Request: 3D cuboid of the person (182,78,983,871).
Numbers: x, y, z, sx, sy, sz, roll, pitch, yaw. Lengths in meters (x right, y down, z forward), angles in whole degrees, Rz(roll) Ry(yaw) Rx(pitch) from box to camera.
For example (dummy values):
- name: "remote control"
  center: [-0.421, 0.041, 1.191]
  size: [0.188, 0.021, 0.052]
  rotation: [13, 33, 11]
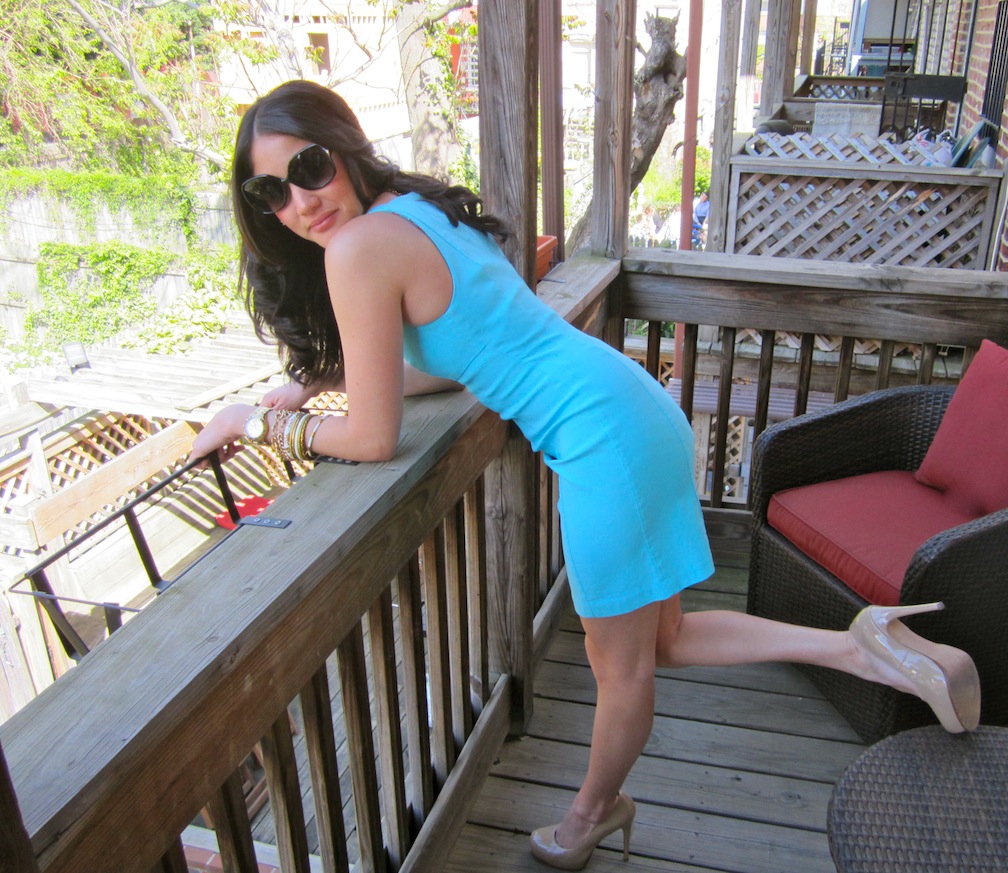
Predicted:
- name: "person"
  center: [-0.055, 0.202, 1.436]
  size: [0.892, 1.647, 0.407]
  rotation: [1, 22, 11]

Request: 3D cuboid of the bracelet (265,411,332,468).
- name: "bracelet"
  center: [-0.352, 0.004, 1.249]
  size: [0.049, 0.085, 0.097]
  rotation: [13, -19, -30]

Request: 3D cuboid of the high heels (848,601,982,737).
- name: "high heels"
  center: [0.810, 0.432, 1.538]
  size: [0.141, 0.169, 0.332]
  rotation: [-43, 57, 1]

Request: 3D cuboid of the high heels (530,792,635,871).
- name: "high heels"
  center: [0.173, 0.856, 1.692]
  size: [0.245, 0.188, 0.143]
  rotation: [-5, 16, 11]
